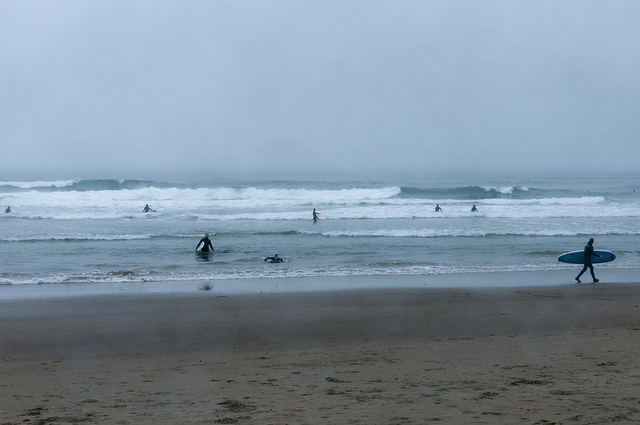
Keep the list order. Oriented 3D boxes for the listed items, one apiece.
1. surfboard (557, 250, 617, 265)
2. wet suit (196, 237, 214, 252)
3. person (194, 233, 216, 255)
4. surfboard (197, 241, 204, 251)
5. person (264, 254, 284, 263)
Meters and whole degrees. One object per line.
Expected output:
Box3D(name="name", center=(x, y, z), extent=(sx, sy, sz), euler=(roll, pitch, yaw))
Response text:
Box3D(name="surfboard", center=(10.253, 1.734, 37.549), extent=(3.118, 0.404, 0.598), euler=(-1, -71, -1))
Box3D(name="wet suit", center=(-4.623, 1.319, 40.551), extent=(0.667, 0.244, 0.929), euler=(-2, -75, -16))
Box3D(name="person", center=(-4.671, 1.312, 41.074), extent=(0.886, 0.355, 1.073), euler=(-1, -63, -19))
Box3D(name="surfboard", center=(-4.881, 1.397, 41.420), extent=(0.182, 0.089, 0.680), euler=(10, -24, -18))
Box3D(name="person", center=(-1.692, 1.770, 38.259), extent=(0.966, 0.246, 0.966), euler=(0, -9, -11))
